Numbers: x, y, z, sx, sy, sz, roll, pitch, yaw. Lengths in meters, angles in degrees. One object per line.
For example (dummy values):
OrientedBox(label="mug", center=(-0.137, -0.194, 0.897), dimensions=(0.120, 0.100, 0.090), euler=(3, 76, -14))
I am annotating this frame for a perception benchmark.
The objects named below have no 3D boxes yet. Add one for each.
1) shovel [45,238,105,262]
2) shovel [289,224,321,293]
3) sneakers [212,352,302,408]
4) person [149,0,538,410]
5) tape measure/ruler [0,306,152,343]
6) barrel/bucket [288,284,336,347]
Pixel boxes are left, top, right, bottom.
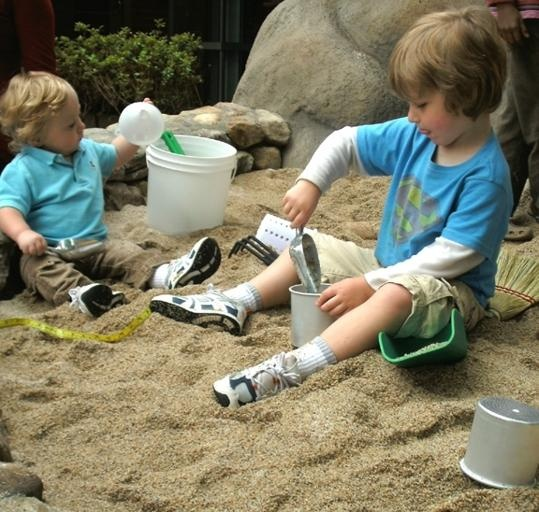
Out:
OrientedBox(label="shovel", center=(-0.846, -0.027, 2.878), dimensions=(0.161, 0.038, 0.091), euler=(-9, 30, -26))
OrientedBox(label="shovel", center=(0.132, 0.005, 2.280), dimensions=(0.093, 0.202, 0.131), euler=(-11, -11, 7))
OrientedBox(label="sneakers", center=(-0.029, 0.359, 2.025), dimensions=(0.330, 0.099, 0.125), euler=(-17, -5, -5))
OrientedBox(label="person", center=(0.344, -0.227, 2.219), dimensions=(1.132, 1.199, 0.768), euler=(0, 19, -16))
OrientedBox(label="tape measure/ruler", center=(-0.706, 0.270, 2.361), dimensions=(0.592, 0.012, 0.180), euler=(4, 37, 24))
OrientedBox(label="barrel/bucket", center=(0.091, 0.185, 2.252), dimensions=(0.202, 0.182, 0.184), euler=(2, 25, -1))
